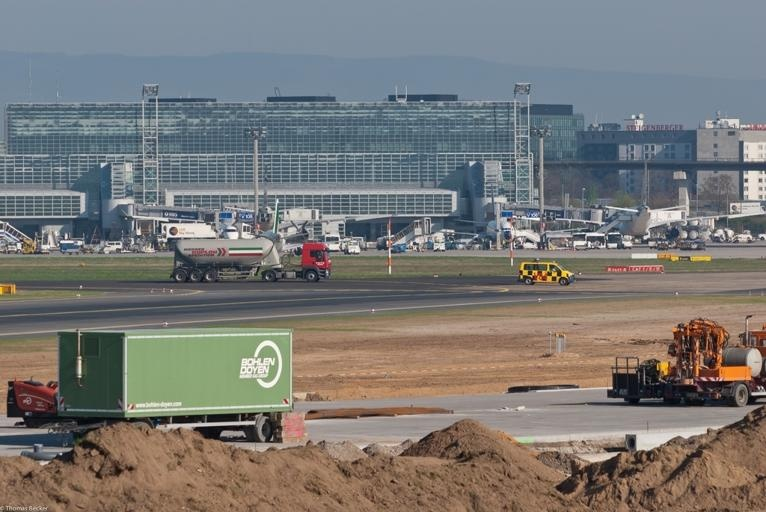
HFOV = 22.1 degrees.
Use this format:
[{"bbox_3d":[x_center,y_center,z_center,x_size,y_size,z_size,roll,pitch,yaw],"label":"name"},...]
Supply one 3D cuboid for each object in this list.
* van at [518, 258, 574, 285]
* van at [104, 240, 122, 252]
[{"bbox_3d":[18.634,1.951,221.504,5.128,2.458,2.955,-1,3,8],"label":"van"},{"bbox_3d":[-40.308,-1.363,292.039,2.287,1.254,1.429,3,-3,-22],"label":"van"}]
